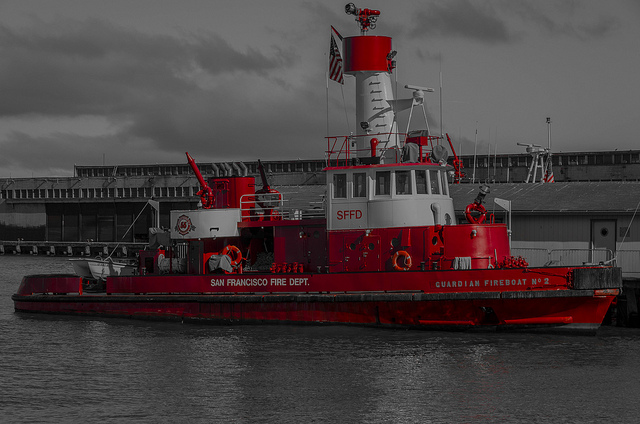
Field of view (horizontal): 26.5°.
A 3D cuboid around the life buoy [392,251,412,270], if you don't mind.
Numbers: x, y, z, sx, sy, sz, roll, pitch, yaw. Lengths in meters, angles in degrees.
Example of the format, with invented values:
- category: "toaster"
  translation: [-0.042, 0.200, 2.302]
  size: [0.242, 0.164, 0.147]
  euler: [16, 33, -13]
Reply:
- category: "life buoy"
  translation: [3.167, 1.917, 52.730]
  size: [0.750, 0.711, 0.168]
  euler: [-2, 1, 22]
